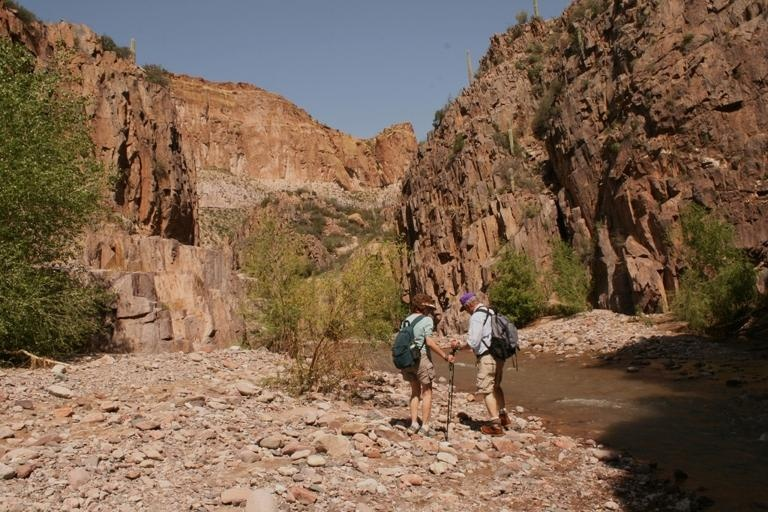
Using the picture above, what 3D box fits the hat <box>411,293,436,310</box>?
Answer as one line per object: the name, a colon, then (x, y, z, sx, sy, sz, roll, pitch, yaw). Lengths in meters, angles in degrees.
hat: (1.021, 1.164, 16.083, 0.349, 0.275, 0.468, 1, -13, 9)
